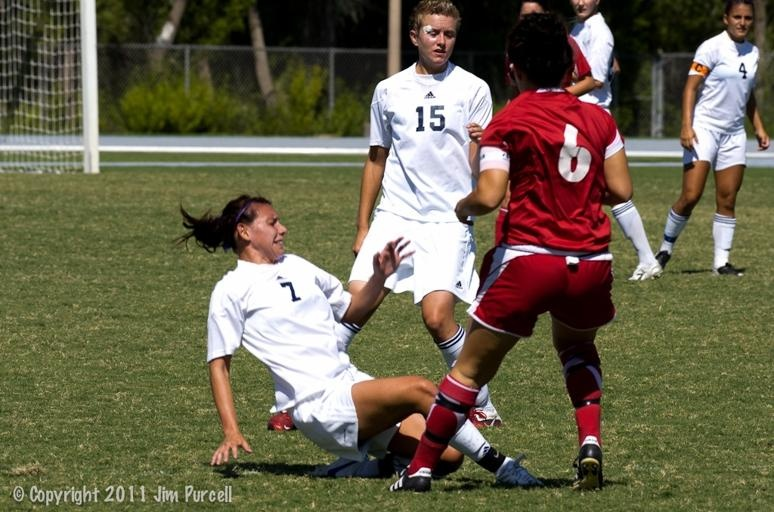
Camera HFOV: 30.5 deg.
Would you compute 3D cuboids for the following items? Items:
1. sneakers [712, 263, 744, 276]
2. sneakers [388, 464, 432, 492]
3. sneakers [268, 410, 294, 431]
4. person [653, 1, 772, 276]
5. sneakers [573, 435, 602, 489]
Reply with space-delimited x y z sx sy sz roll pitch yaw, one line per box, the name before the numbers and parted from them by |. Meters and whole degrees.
sneakers | 3.902 0.153 16.346 0.380 0.166 0.142 1 9 0
sneakers | 0.164 1.918 12.113 0.416 0.183 0.142 -2 -5 34
sneakers | -0.958 1.515 12.983 0.280 0.223 0.102 -6 -24 1
person | 3.783 -1.378 16.353 1.209 3.131 0.627 -2 9 -16
sneakers | 1.680 1.738 11.965 0.194 0.470 0.240 1 41 5
